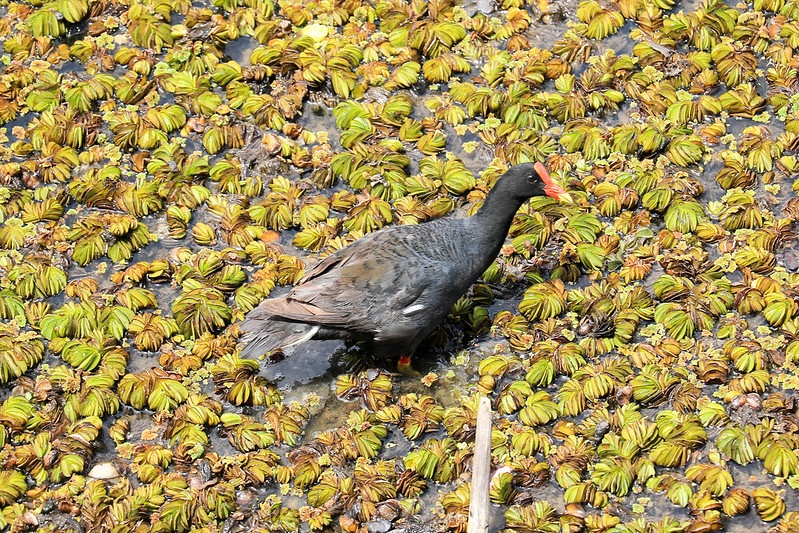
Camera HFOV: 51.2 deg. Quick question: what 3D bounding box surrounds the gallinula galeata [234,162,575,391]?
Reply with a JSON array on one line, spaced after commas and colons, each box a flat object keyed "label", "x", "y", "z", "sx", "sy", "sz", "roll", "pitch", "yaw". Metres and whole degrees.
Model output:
[{"label": "gallinula galeata", "x": -0.046, "y": 0.005, "z": 13.089, "sx": 5.343, "sy": 2.961, "sz": 2.008, "roll": -7, "pitch": 26, "yaw": -11}]
